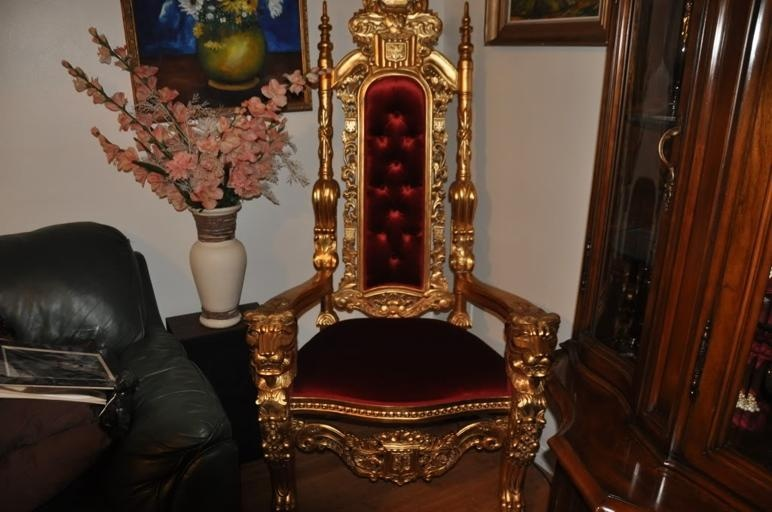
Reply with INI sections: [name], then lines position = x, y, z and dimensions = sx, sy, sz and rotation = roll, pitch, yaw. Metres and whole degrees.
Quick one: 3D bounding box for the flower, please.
[flower]
position = -0.845, -0.572, 2.801
dimensions = 0.917, 0.666, 0.860
rotation = 20, 36, 24
